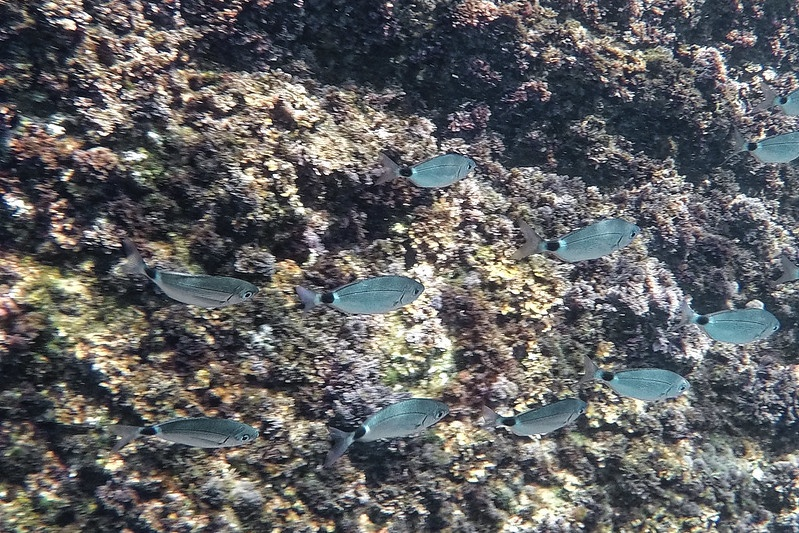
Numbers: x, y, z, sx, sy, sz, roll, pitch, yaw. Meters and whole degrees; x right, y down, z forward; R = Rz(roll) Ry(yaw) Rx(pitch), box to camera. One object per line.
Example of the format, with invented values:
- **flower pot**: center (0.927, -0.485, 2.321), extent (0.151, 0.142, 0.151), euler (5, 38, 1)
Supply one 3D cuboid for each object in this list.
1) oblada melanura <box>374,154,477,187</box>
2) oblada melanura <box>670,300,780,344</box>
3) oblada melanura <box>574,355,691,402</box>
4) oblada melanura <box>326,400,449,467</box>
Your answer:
- **oblada melanura**: center (0.279, -1.025, 12.000), extent (0.993, 0.453, 0.325), euler (2, 80, -3)
- **oblada melanura**: center (3.553, 0.640, 12.099), extent (1.385, 0.206, 0.442), euler (8, 89, -23)
- **oblada melanura**: center (2.455, 1.231, 11.953), extent (1.141, 0.379, 0.338), euler (11, 79, -1)
- **oblada melanura**: center (-0.194, 1.790, 11.945), extent (1.445, 0.317, 0.314), euler (-10, 112, -11)
